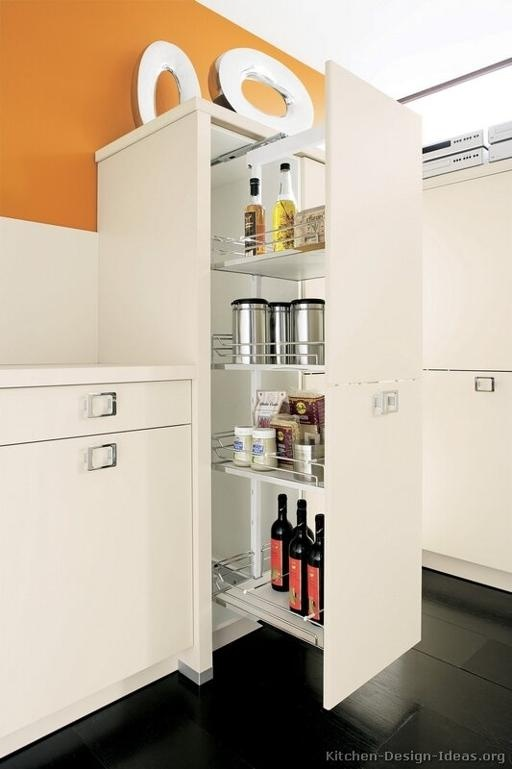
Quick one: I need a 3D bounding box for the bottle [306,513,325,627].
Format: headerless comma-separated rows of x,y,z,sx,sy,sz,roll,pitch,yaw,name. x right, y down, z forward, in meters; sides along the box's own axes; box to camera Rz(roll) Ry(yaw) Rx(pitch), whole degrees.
0.144,0.448,1.462,0.037,0.245,0.125,0,3,5,bottle

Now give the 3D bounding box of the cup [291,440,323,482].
0.128,0.188,1.445,0.076,0.088,0.070,0,-3,0,cup
